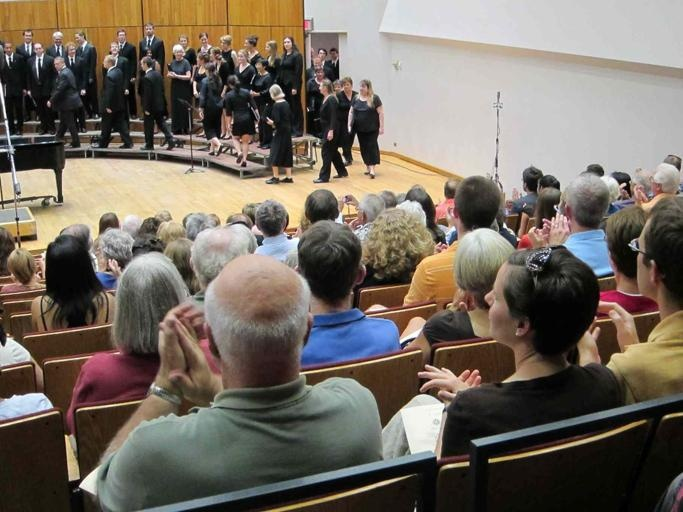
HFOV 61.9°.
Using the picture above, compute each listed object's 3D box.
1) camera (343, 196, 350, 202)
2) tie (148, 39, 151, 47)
[{"bbox_3d":[0.041,-0.608,6.124,0.049,0.060,0.038,-3,6,2],"label":"camera"},{"bbox_3d":[-4.118,-4.540,12.165,0.071,0.124,0.026,1,-2,-5],"label":"tie"}]
